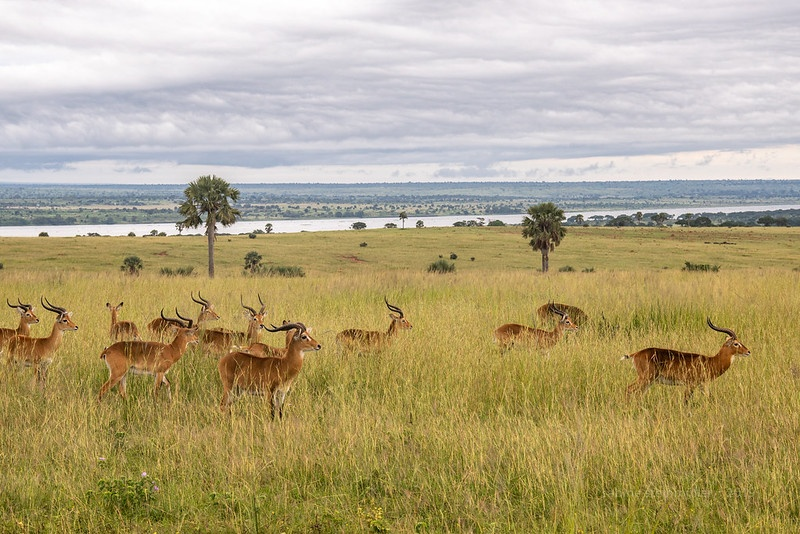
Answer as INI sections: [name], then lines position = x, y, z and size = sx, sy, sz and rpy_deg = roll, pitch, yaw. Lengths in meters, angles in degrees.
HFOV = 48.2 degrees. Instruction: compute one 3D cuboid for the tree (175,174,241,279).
[tree]
position = -14.358, -3.061, 68.000
size = 4.624, 6.912, 4.606
rpy_deg = 0, -9, -29
